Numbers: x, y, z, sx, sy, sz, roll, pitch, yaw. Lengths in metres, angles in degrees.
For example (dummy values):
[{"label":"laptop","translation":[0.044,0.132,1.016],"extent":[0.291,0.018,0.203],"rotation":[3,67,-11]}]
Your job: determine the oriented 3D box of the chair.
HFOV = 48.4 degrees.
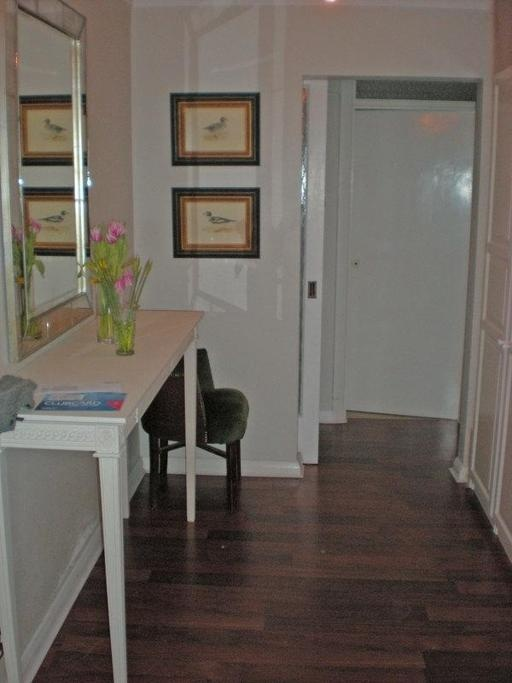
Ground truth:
[{"label":"chair","translation":[-0.186,0.370,2.894],"extent":[0.586,0.927,0.706],"rotation":[1,15,5]}]
